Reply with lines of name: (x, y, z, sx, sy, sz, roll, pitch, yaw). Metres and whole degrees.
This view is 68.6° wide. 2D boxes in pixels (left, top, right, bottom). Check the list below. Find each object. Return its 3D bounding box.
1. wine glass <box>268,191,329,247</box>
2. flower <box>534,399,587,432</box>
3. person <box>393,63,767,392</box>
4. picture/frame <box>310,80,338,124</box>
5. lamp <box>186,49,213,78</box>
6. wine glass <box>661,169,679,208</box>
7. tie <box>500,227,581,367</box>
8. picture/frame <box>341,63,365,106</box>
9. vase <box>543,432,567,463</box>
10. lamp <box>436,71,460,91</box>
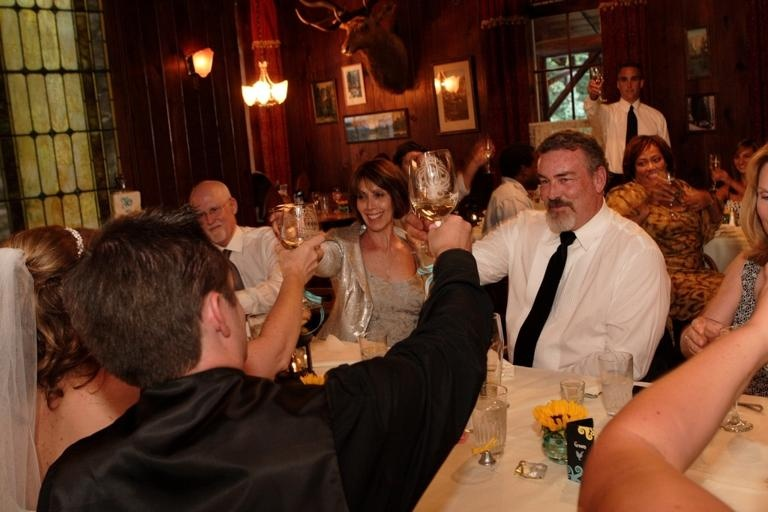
wine glass: (-0.324, -0.121, 2.094, 0.186, 0.195, 0.145, 1, 8, 29)
flower: (0.570, 0.503, 1.821, 0.109, 0.049, 0.119, -6, 7, -12)
person: (1.138, -0.059, 3.398, 1.380, 1.981, 1.191, -4, -9, 39)
picture/frame: (-1.021, -2.669, 9.736, 0.716, 0.967, 0.068, 2, 4, 34)
lamp: (-1.812, -1.843, 5.487, 0.214, 0.229, 0.255, -4, 1, -30)
wine glass: (2.112, -0.495, 4.113, 0.050, 0.197, 0.135, -16, 4, 31)
tie: (0.834, 0.234, 2.994, 0.170, 1.057, 0.125, 17, -6, 24)
picture/frame: (-0.508, -2.836, 9.399, 0.456, 0.651, 0.054, 0, 10, 40)
vase: (0.543, 0.601, 1.790, 0.082, 0.088, 0.085, -2, -1, 28)
lamp: (0.974, -2.606, 8.535, 0.262, 0.166, 0.306, 0, 1, -5)
